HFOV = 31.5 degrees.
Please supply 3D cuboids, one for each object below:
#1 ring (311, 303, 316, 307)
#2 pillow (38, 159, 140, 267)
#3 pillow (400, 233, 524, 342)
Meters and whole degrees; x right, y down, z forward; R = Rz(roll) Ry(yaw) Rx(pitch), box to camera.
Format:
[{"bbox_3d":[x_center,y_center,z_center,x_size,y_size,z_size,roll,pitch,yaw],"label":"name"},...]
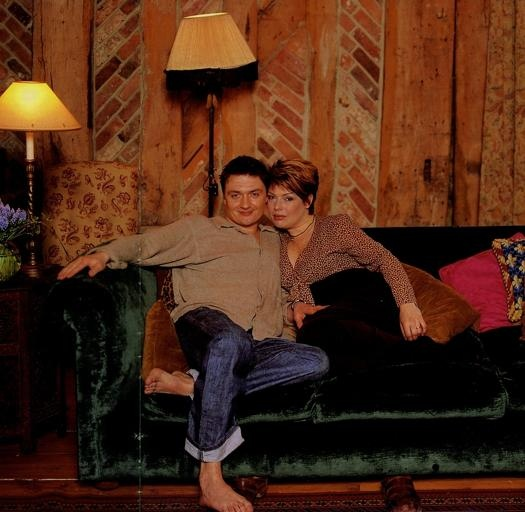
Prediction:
[{"bbox_3d":[0.194,0.188,3.559,0.013,0.026,0.040,-1,0,20],"label":"ring"},{"bbox_3d":[-0.737,-0.177,3.959,0.452,0.626,0.219,0,4,-9],"label":"pillow"},{"bbox_3d":[0.781,0.130,3.671,0.353,0.329,0.084,-16,-13,-27],"label":"pillow"}]
